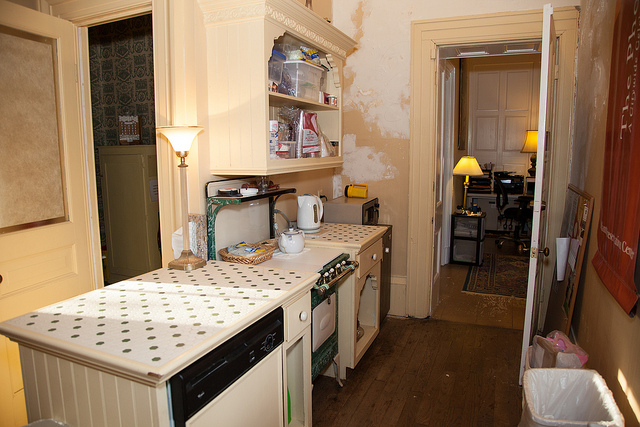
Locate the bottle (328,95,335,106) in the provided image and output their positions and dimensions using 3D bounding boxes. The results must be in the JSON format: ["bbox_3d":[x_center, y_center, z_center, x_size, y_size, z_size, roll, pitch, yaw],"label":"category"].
[{"bbox_3d":[0.094,-0.953,3.593,0.037,0.087,0.114,2,14,10],"label":"bottle"}]

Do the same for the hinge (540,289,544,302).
[{"bbox_3d":[2.017,0.744,3.884,0.013,0.131,0.076,13,19,42],"label":"hinge"}]

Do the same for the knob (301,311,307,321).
[{"bbox_3d":[-0.092,0.616,2.578,0.043,0.045,0.045,1,-33,6],"label":"knob"}]

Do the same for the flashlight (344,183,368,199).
[{"bbox_3d":[0.358,-0.238,4.264,0.220,0.132,0.154,2,2,29],"label":"flashlight"}]

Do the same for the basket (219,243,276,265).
[{"bbox_3d":[-0.489,0.292,3.008,0.390,0.095,0.306,-9,16,-30],"label":"basket"}]

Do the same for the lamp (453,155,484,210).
[{"bbox_3d":[2.193,-0.573,6.117,0.421,0.779,0.431,5,16,29],"label":"lamp"}]

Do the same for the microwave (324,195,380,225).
[{"bbox_3d":[0.316,-0.015,4.179,0.403,0.268,0.536,6,15,22],"label":"microwave"}]

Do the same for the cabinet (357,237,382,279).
[{"bbox_3d":[0.400,0.363,3.502,0.226,0.180,0.368,0,9,21],"label":"cabinet"}]

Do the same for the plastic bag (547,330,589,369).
[{"bbox_3d":[1.519,0.829,2.660,0.270,0.093,0.201,-5,-1,35],"label":"plastic bag"}]

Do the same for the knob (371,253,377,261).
[{"bbox_3d":[0.457,0.366,3.602,0.042,0.080,0.079,2,0,30],"label":"knob"}]

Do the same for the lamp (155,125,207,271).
[{"bbox_3d":[-0.853,-0.102,2.699,0.279,0.889,0.236,-4,15,-16],"label":"lamp"}]

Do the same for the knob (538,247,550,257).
[{"bbox_3d":[1.678,0.277,3.160,0.093,0.057,0.056,0,-10,1],"label":"knob"}]

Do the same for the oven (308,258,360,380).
[{"bbox_3d":[0.062,0.831,3.084,0.237,0.978,0.667,5,15,21],"label":"oven"}]

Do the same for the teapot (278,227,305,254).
[{"bbox_3d":[-0.214,0.200,3.253,0.187,0.207,0.268,6,10,33],"label":"teapot"}]

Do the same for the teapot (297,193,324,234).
[{"bbox_3d":[-0.089,-0.002,3.592,0.211,0.309,0.169,-1,14,-3],"label":"teapot"}]

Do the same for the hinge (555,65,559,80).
[{"bbox_3d":[2.047,-1.225,3.702,0.037,0.119,0.014,-1,14,-1],"label":"hinge"}]
